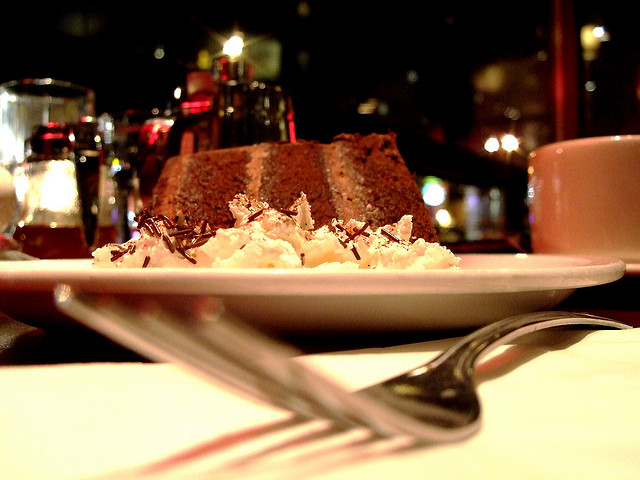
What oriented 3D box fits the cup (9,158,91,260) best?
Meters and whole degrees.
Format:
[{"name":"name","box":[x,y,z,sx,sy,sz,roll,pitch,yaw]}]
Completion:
[{"name":"cup","box":[-0.519,-0.068,1.045,0.146,0.205,0.145,2,4,0]}]

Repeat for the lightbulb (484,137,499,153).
[{"name":"lightbulb","box":[0.986,-0.547,3.170,0.059,0.097,0.214,0,1,13]}]

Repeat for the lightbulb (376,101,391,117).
[{"name":"lightbulb","box":[0.426,-0.868,3.647,0.100,0.105,0.057,3,-12,2]}]

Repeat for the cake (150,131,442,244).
[{"name":"cake","box":[-0.046,-0.076,0.759,0.400,0.150,0.148,0,1,-4]}]

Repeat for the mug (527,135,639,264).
[{"name":"mug","box":[0.369,-0.057,0.783,0.150,0.170,0.063,1,2,37]}]

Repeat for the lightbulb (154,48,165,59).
[{"name":"lightbulb","box":[-0.898,-1.053,3.100,0.055,0.067,0.024,-1,2,-24]}]

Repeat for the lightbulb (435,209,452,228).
[{"name":"lightbulb","box":[0.918,-0.167,4.094,0.115,0.146,0.067,19,-40,-34]}]
